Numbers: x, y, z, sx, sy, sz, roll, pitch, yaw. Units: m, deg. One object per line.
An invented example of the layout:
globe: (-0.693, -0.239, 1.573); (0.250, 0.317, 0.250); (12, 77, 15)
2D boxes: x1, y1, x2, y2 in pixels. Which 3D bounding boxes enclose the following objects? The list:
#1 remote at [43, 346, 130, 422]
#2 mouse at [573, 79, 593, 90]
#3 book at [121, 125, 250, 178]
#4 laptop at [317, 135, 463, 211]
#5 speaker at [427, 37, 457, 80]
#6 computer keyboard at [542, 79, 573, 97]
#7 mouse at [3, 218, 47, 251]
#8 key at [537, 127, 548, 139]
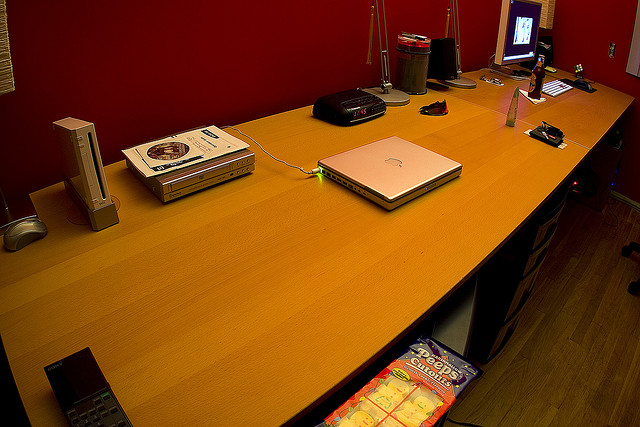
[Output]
remote: (-0.573, 0.427, 0.935); (0.112, 0.032, 0.230); (-25, 57, -27)
mouse: (1.879, -0.929, 2.750); (0.081, 0.033, 0.108); (-26, 42, -29)
book: (-0.530, -0.259, 1.530); (0.430, 0.040, 0.246); (-25, 42, -24)
laptop: (0.284, -0.182, 1.580); (0.478, 0.104, 0.355); (-27, 43, -26)
speaker: (0.781, -0.972, 2.411); (0.186, 0.236, 0.102); (-2, 38, 4)
computer keyboard: (1.605, -0.846, 2.597); (0.188, 0.019, 0.129); (-23, 44, -26)
mouse: (-0.952, 0.070, 1.283); (0.080, 0.047, 0.134); (33, 45, 26)
key: (1.122, -0.403, 1.927); (0.033, 0.010, 0.057); (-8, 43, -1)
